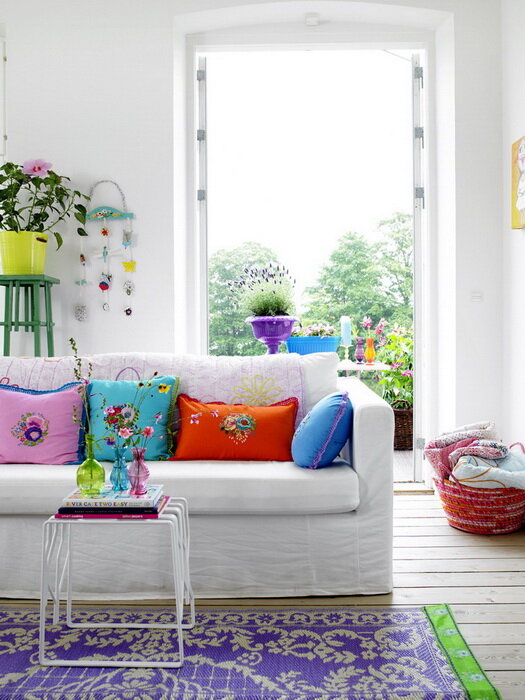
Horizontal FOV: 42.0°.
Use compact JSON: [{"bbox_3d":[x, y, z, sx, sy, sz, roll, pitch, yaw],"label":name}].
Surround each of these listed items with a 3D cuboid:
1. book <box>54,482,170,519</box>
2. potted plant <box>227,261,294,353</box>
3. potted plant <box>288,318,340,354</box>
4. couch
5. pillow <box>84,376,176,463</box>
[{"bbox_3d":[-0.417,0.434,1.910,0.314,0.055,0.135,-2,4,-17],"label":"book"},{"bbox_3d":[0.012,-0.228,3.505,0.301,0.463,0.440,0,4,-1],"label":"potted plant"},{"bbox_3d":[0.251,-0.068,3.674,0.214,0.107,0.274,1,-4,-23],"label":"potted plant"},{"bbox_3d":[-0.239,0.428,2.537,1.366,0.746,0.658,0,5,0],"label":"couch"},{"bbox_3d":[-0.473,0.256,2.434,0.341,0.293,0.114,-2,-22,-2],"label":"pillow"}]
